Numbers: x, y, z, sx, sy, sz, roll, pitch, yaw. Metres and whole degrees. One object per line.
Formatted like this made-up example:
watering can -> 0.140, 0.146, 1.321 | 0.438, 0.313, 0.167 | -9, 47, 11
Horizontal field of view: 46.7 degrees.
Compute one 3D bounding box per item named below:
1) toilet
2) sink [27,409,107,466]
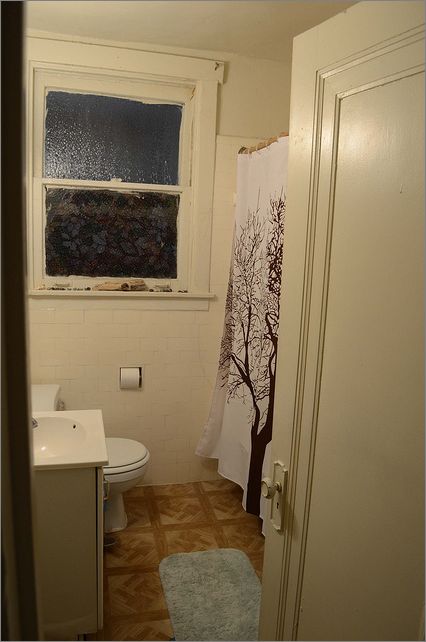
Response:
toilet -> -0.613, 0.759, 2.636 | 0.423, 0.707, 0.616 | 12, 5, 27
sink -> -0.566, 0.511, 1.997 | 0.215, 0.078, 0.325 | -8, 28, -18
